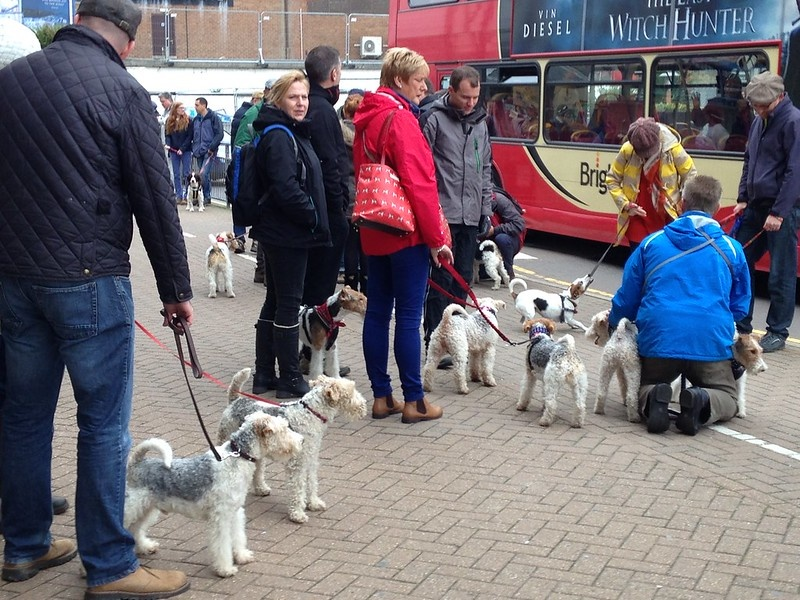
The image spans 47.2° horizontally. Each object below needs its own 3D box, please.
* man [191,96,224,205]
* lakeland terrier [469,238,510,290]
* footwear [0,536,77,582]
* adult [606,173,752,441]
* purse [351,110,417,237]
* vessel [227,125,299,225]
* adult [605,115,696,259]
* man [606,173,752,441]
[{"bbox_3d":[-4.530,-3.443,21.268,0.649,2.396,0.905,-3,9,-33],"label":"man"},{"bbox_3d":[1.153,-0.553,12.864,0.326,0.639,1.038,-15,18,-27],"label":"lakeland terrier"},{"bbox_3d":[-2.191,1.605,5.644,0.166,0.171,0.454,11,19,36],"label":"footwear"},{"bbox_3d":[2.510,0.032,7.790,1.036,2.062,0.915,-3,16,-14],"label":"adult"},{"bbox_3d":[-0.164,-0.780,7.201,0.545,0.546,0.256,10,18,32],"label":"purse"},{"bbox_3d":[-0.984,-0.994,7.727,0.839,0.887,0.574,4,14,1],"label":"vessel"},{"bbox_3d":[2.749,-1.062,10.049,0.929,1.863,0.723,-1,24,14],"label":"adult"},{"bbox_3d":[2.473,0.037,7.771,1.084,2.062,0.941,0,15,-4],"label":"man"}]
